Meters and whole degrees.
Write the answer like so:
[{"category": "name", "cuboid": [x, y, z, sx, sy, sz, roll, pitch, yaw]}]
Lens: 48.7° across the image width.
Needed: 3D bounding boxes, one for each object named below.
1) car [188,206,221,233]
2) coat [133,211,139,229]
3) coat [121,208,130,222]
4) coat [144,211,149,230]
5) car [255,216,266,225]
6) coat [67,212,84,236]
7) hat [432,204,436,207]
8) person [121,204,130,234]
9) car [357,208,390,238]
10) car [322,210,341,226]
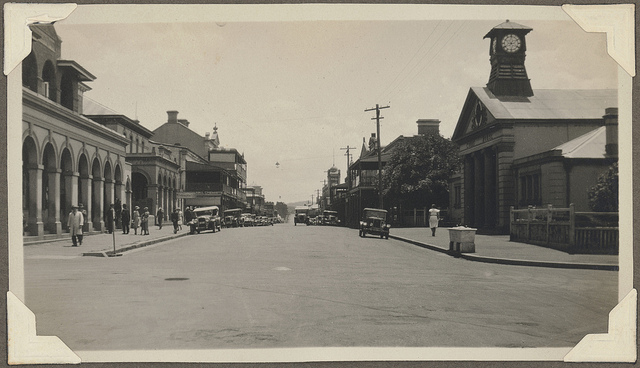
[{"category": "car", "cuboid": [-9.020, 2.696, 55.723, 1.627, 1.360, 2.953, -2, -11, -2]}, {"category": "coat", "cuboid": [-12.627, 2.365, 48.486, 0.291, 0.926, 1.457, -4, 10, -16]}, {"category": "coat", "cuboid": [-13.247, 2.072, 47.909, 0.434, 0.893, 0.473, -2, 11, -8]}, {"category": "coat", "cuboid": [-11.499, 2.389, 46.564, 0.222, 1.217, 0.871, -3, 11, -14]}, {"category": "car", "cuboid": [-8.090, 4.887, 95.235, 1.321, 0.622, 2.143, 0, -5, -8]}, {"category": "coat", "cuboid": [-13.034, 2.076, 37.765, 0.668, 1.181, 1.166, -4, 11, -20]}, {"category": "hat", "cuboid": [8.461, 1.531, 52.467, 0.348, 0.202, 0.345, -3, -5, 32]}, {"category": "person", "cuboid": [-13.278, 2.333, 48.078, 0.452, 2.000, 0.734, -4, 11, -16]}, {"category": "car", "cuboid": [3.630, 2.455, 47.019, 1.328, 1.117, 2.356, 2, -11, -5]}, {"category": "car", "cuboid": [1.543, 4.244, 89.123, 1.496, 1.253, 2.220, 1, -9, -16]}]
